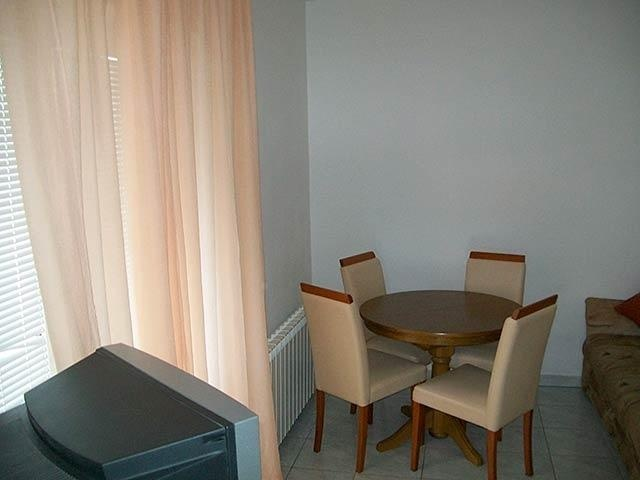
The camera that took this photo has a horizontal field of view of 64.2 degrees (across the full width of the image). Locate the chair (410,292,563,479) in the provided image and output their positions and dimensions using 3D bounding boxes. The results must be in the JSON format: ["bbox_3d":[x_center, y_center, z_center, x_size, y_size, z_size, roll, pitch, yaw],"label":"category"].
[{"bbox_3d":[0.984,0.874,3.060,0.744,1.262,0.470,14,12,28],"label":"chair"}]

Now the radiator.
[{"bbox_3d":[-0.199,0.935,3.462,0.056,0.601,0.838,1,14,17],"label":"radiator"}]
